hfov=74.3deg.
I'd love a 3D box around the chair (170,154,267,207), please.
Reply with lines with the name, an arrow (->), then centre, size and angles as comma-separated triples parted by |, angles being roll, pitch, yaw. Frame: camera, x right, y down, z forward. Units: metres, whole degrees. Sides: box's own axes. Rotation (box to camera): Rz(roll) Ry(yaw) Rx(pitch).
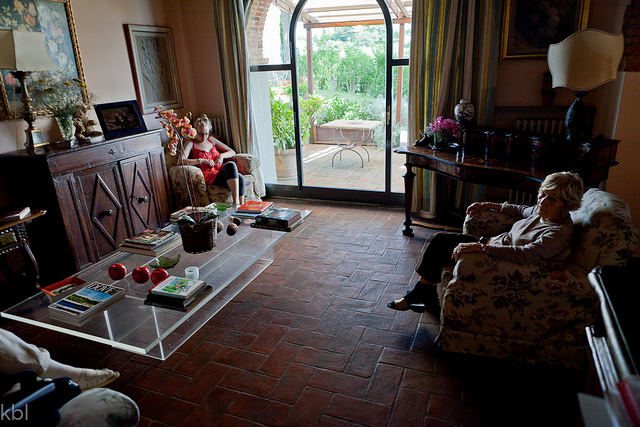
chair -> -1.431, -0.582, 5.770 | 1.012, 0.874, 0.862 | -20, 29, -41

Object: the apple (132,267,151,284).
apple -> -1.481, 0.505, 3.543 | 0.137, 0.127, 0.134 | 8, 18, 9

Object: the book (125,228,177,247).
book -> -1.575, 0.213, 3.906 | 0.238, 0.055, 0.234 | 7, 20, 18

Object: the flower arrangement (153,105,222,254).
flower arrangement -> -1.169, -0.323, 3.813 | 0.501, 1.328, 0.407 | -4, 9, 38

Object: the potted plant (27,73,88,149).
potted plant -> -2.960, -1.150, 4.690 | 0.584, 0.709, 0.506 | 12, 32, 42

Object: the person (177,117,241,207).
person -> -1.354, -0.669, 5.626 | 0.947, 1.193, 0.703 | 9, 23, 38

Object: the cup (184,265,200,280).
cup -> -1.088, 0.496, 3.581 | 0.110, 0.106, 0.101 | 4, 11, -1

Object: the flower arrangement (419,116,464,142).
flower arrangement -> 1.480, -0.994, 5.018 | 0.315, 0.198, 0.349 | -1, 9, 16

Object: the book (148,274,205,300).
book -> -1.122, 0.572, 3.295 | 0.228, 0.046, 0.220 | 7, 17, 15

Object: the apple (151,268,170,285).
apple -> -1.320, 0.502, 3.487 | 0.127, 0.123, 0.123 | -4, 22, -16

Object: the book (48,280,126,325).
book -> -1.798, 0.685, 3.256 | 0.310, 0.122, 0.438 | 9, 25, 30

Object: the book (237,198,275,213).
book -> -0.725, -0.080, 4.595 | 0.216, 0.043, 0.214 | 6, 21, 23

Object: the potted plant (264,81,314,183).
potted plant -> -0.464, -1.139, 6.446 | 0.724, 1.095, 0.818 | 13, 24, 26

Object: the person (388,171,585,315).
person -> 1.259, 0.234, 3.374 | 1.214, 1.277, 0.712 | 11, 23, 5

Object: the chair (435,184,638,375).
chair -> 1.536, 0.375, 3.564 | 1.492, 1.336, 1.459 | 4, 23, 17

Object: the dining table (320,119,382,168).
dining table -> 0.491, -1.045, 6.265 | 0.920, 0.742, 0.254 | 9, 26, 31

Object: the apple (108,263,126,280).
apple -> -1.674, 0.463, 3.527 | 0.131, 0.125, 0.130 | 13, 16, 30

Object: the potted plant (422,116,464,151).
potted plant -> 1.447, -0.942, 4.918 | 0.444, 0.345, 0.292 | 0, 23, 13
